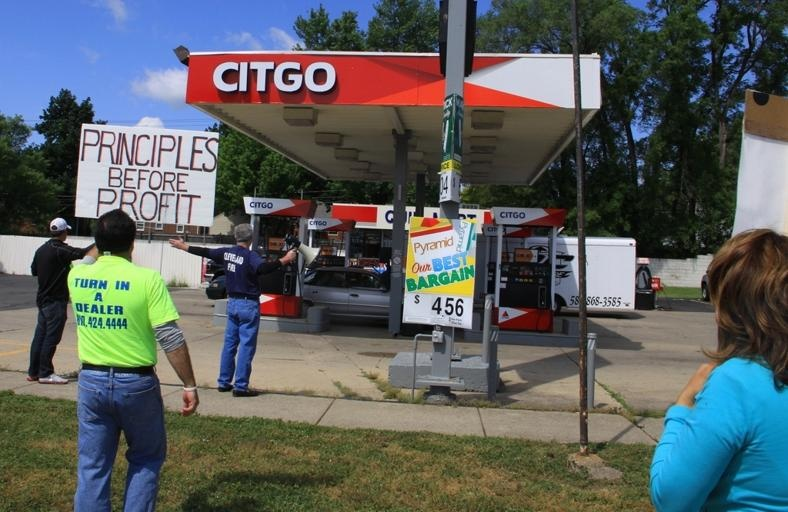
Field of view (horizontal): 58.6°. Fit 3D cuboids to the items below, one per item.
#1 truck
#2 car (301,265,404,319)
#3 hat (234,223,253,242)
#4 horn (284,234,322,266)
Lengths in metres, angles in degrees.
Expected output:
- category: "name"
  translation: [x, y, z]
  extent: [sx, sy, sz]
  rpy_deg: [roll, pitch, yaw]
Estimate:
- category: "truck"
  translation: [5.456, 0.671, 23.026]
  extent: [4.561, 2.491, 2.405]
  rpy_deg: [-1, 0, 6]
- category: "car"
  translation: [-1.195, 1.021, 19.008]
  extent: [2.493, 0.855, 1.150]
  rpy_deg: [-1, 4, -1]
- category: "hat"
  translation: [-2.455, -0.408, 11.479]
  extent: [0.242, 0.197, 0.343]
  rpy_deg: [4, 40, -8]
- category: "horn"
  translation: [-1.485, -0.129, 11.319]
  extent: [0.527, 0.450, 0.421]
  rpy_deg: [36, 1, -8]
